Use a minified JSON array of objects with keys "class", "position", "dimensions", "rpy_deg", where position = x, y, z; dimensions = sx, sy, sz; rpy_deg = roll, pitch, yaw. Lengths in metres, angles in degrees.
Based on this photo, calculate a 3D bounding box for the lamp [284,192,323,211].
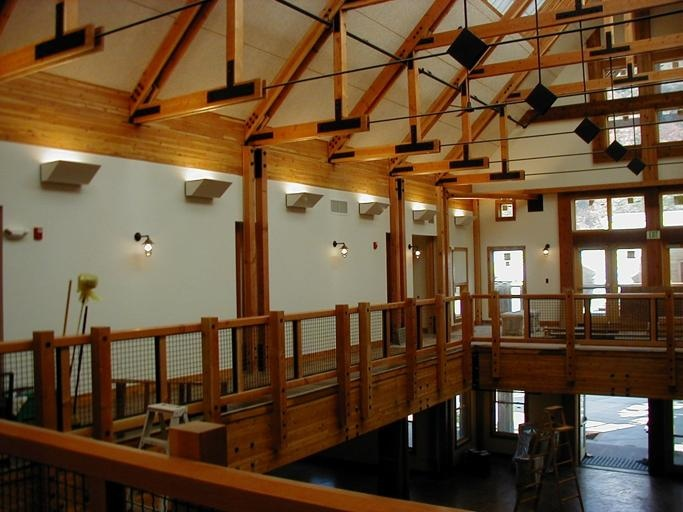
[{"class":"lamp","position":[-0.703,-1.072,11.445],"dimensions":[0.363,0.333,0.792],"rpy_deg":[-1,-1,35]}]

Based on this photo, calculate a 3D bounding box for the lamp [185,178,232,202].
[{"class":"lamp","position":[-2.237,-1.090,9.610],"dimensions":[0.374,0.265,0.542],"rpy_deg":[2,5,27]}]

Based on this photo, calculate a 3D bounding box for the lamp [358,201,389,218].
[{"class":"lamp","position":[0.760,-1.059,13.450],"dimensions":[0.413,0.382,0.862],"rpy_deg":[-1,-1,28]}]

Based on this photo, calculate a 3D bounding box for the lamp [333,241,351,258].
[{"class":"lamp","position":[0.014,-0.133,12.658],"dimensions":[0.129,0.347,0.582],"rpy_deg":[-1,-1,31]}]

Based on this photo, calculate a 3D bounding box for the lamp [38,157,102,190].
[{"class":"lamp","position":[-3.748,-1.104,8.033],"dimensions":[0.394,0.318,0.570],"rpy_deg":[1,4,26]}]
